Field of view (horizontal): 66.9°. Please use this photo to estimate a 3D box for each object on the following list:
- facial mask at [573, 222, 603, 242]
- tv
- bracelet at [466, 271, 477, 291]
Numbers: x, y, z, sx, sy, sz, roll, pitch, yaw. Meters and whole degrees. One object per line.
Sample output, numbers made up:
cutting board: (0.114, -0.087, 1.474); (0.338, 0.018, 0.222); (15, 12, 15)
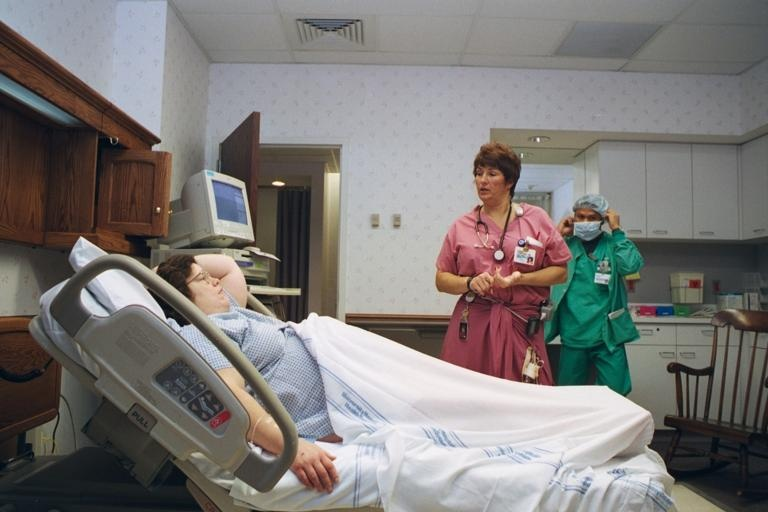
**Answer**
facial mask: (1.580, -0.187, 4.501); (0.149, 0.102, 0.161); (-1, 5, 24)
tv: (-1.361, -0.252, 4.475); (0.584, 0.625, 0.606); (-1, -3, 15)
bracelet: (0.522, 0.154, 3.417); (0.030, 0.086, 0.071); (9, -5, 20)
